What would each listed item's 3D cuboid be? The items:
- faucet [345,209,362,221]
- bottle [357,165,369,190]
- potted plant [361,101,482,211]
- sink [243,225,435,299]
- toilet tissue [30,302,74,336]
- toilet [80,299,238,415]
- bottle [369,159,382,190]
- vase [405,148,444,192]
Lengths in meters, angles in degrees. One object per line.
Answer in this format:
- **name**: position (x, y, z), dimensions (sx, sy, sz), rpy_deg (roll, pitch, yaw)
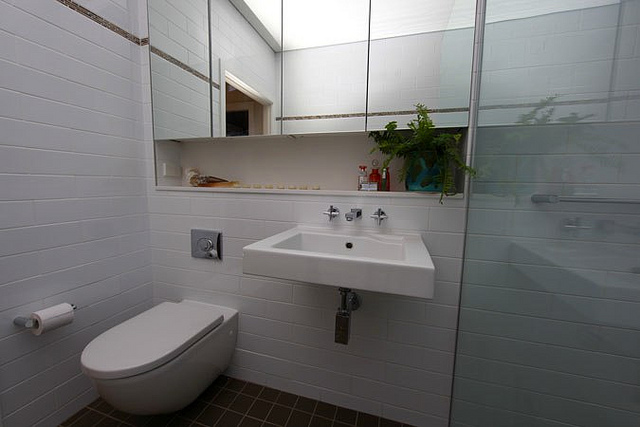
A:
- **faucet**: position (0.194, 0.003, 2.296), dimensions (0.052, 0.042, 0.093), rpy_deg (4, 7, 21)
- **bottle**: position (0.267, -0.221, 2.470), dimensions (0.053, 0.142, 0.174), rpy_deg (0, 8, 10)
- **potted plant**: position (0.563, -0.362, 2.297), dimensions (0.508, 0.410, 0.400), rpy_deg (5, 6, 37)
- **sink**: position (0.110, 0.231, 2.169), dimensions (0.943, 0.240, 0.495), rpy_deg (0, 8, 14)
- **toilet tissue**: position (-1.472, 0.589, 2.249), dimensions (0.117, 0.158, 0.187), rpy_deg (4, 10, 37)
- **toilet**: position (-0.929, 0.890, 2.435), dimensions (0.566, 0.508, 0.817), rpy_deg (4, 16, 28)
- **bottle**: position (0.336, -0.237, 2.459), dimensions (0.073, 0.177, 0.180), rpy_deg (-1, 8, 8)
- **vase**: position (0.603, -0.244, 2.340), dimensions (0.213, 0.236, 0.214), rpy_deg (7, 8, 24)
